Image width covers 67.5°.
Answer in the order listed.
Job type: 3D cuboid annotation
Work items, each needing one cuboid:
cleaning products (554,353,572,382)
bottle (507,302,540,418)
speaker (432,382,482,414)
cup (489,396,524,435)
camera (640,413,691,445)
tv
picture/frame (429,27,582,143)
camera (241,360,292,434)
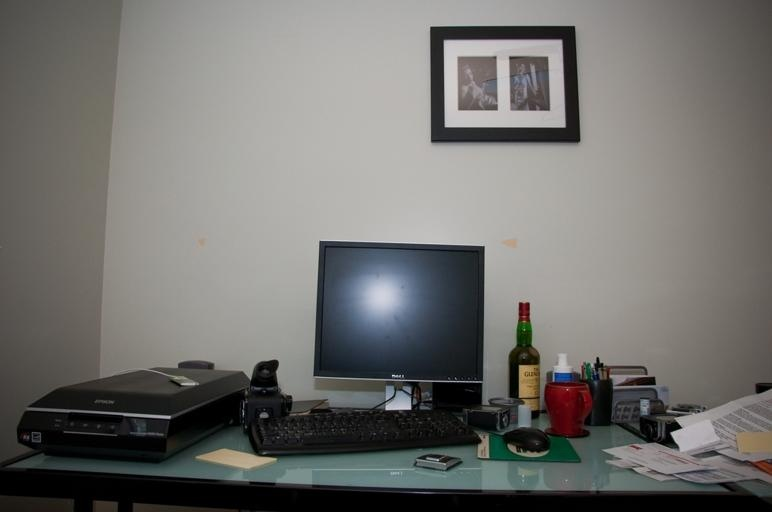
[{"bbox_3d":[0.675,0.423,2.196,0.079,0.101,0.062,1,1,5],"label":"cleaning products"},{"bbox_3d":[0.534,0.402,2.252,0.122,0.436,0.269,2,1,22],"label":"bottle"},{"bbox_3d":[0.274,0.551,2.271,0.207,0.108,0.137,3,-10,-3],"label":"speaker"},{"bbox_3d":[0.439,0.581,2.109,0.109,0.078,0.107,1,0,0],"label":"cup"},{"bbox_3d":[0.938,0.589,1.989,0.092,0.044,0.088,0,-3,-35],"label":"camera"},{"bbox_3d":[0.063,0.254,2.259,0.671,0.654,0.218,1,-10,-1],"label":"tv"},{"bbox_3d":[0.528,-0.727,2.515,0.522,0.377,0.020,0,-3,-1],"label":"picture/frame"},{"bbox_3d":[-0.443,0.523,2.133,0.186,0.255,0.197,2,1,-9],"label":"camera"}]
